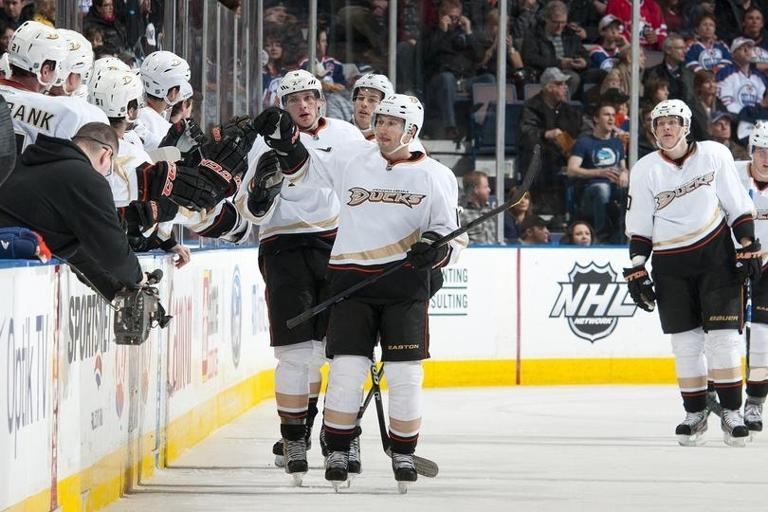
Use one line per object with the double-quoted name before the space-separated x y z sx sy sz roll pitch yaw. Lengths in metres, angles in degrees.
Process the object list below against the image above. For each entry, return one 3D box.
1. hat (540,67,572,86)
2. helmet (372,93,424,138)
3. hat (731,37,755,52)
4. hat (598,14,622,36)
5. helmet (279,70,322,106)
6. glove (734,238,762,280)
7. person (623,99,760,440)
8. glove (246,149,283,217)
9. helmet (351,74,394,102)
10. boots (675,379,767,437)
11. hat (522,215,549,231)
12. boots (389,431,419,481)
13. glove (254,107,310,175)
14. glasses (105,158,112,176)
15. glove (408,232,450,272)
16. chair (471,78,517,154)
"hat" 1.704 -1.800 12.736 0.276 0.137 0.180 -4 13 -2
"helmet" 0.096 -0.945 8.589 0.323 0.287 0.247 5 -1 -42
"hat" 3.840 -2.282 13.741 0.149 0.073 0.221 1 -11 -27
"hat" 2.283 -2.366 12.969 0.153 0.112 0.211 -2 2 -20
"helmet" -0.618 -1.214 9.147 0.232 0.264 0.279 -14 5 -6
"glove" 2.768 0.025 9.759 0.123 0.268 0.266 -5 -11 -8
"person" 2.334 0.111 9.716 1.009 2.568 0.501 3 5 10
"glove" -0.828 -0.508 8.686 0.199 0.247 0.424 1 -41 -26
"helmet" -0.054 -1.274 9.330 0.220 0.255 0.273 6 -12 27
"boots" 2.591 1.165 9.831 0.549 0.449 0.798 4 6 22
"hat" 1.470 -0.327 12.521 0.193 0.095 0.137 -8 2 -4
"boots" 0.115 1.322 8.456 0.136 0.327 0.382 3 4 -10
"glove" -0.664 -0.787 8.439 0.295 0.435 0.177 8 47 29
"glasses" -1.668 -0.540 7.755 0.066 0.072 0.084 1 16 -8
"glove" 0.312 -0.039 8.388 0.318 0.253 0.157 -4 7 -45
"chair" 1.054 -1.438 12.622 0.427 0.469 0.444 1 24 -7
